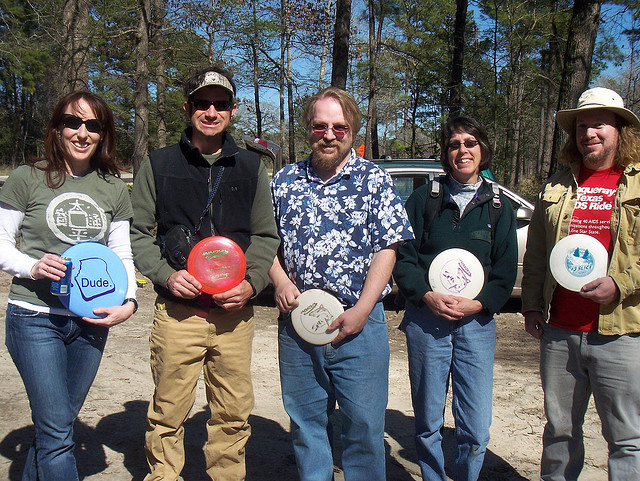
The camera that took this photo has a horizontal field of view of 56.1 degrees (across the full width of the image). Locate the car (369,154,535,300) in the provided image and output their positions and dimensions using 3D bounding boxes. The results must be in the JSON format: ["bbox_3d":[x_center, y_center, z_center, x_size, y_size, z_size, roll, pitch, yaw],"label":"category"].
[{"bbox_3d":[2.157,-0.314,8.036,1.272,1.138,2.349,2,-6,35],"label":"car"}]

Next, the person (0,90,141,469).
[{"bbox_3d":[-1.641,0.233,3.946,0.819,2.415,0.531,-2,7,-21],"label":"person"}]

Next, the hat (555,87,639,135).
[{"bbox_3d":[1.990,-0.863,4.295,0.383,0.175,0.348,14,-15,-13],"label":"hat"}]

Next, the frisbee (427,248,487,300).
[{"bbox_3d":[0.994,0.229,4.300,0.324,0.055,0.335,30,-41,-7],"label":"frisbee"}]
